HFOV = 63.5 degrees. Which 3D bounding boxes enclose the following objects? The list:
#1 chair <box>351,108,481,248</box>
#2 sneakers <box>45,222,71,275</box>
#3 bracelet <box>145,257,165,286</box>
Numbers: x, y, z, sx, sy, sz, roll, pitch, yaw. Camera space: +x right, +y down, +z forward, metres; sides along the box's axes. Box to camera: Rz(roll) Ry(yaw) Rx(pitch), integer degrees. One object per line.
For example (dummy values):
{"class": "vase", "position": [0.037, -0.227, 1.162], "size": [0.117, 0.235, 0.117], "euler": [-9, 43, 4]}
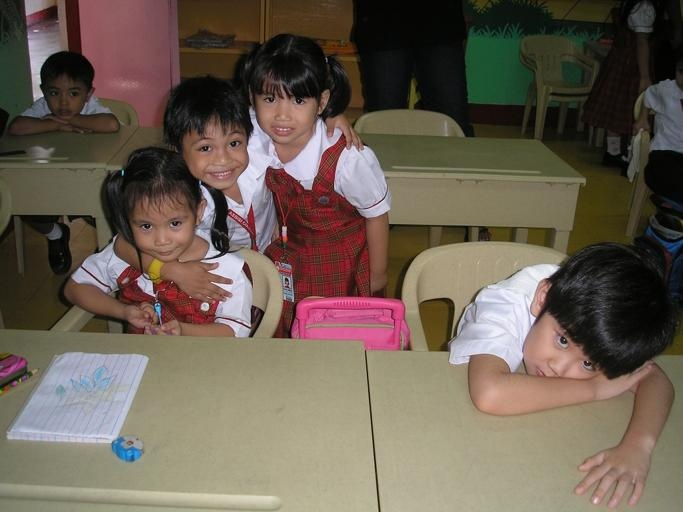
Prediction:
{"class": "chair", "position": [0.333, -0.343, 2.742], "size": [0.644, 0.844, 0.619], "euler": [-1, 34, 0]}
{"class": "sneakers", "position": [-1.438, -0.035, 2.859], "size": [0.097, 0.290, 0.106], "euler": [-2, 14, -1]}
{"class": "bracelet", "position": [-0.510, 0.042, 1.508], "size": [0.044, 0.066, 0.033], "euler": [4, 29, -2]}
